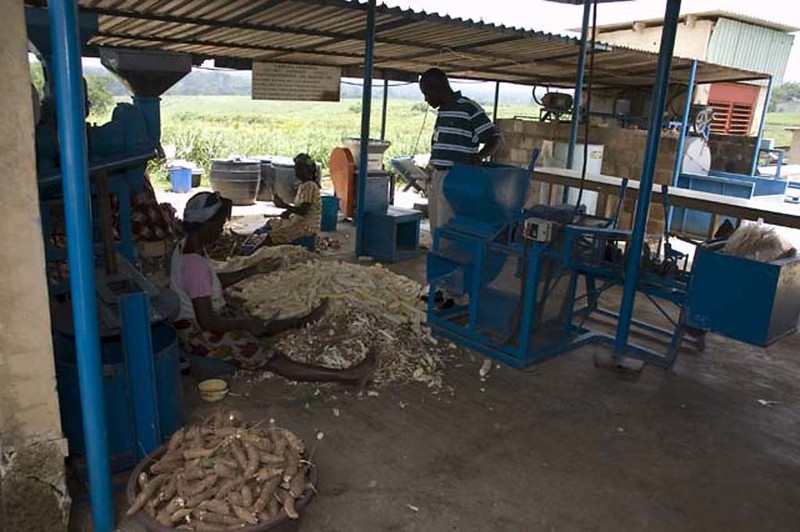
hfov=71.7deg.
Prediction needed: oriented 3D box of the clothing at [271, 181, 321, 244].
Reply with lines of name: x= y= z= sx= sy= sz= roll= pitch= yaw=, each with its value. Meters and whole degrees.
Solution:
clothing: x=-1.657 y=-0.945 z=9.349 sx=0.953 sy=1.034 sz=0.917 roll=0 pitch=12 yaw=2
